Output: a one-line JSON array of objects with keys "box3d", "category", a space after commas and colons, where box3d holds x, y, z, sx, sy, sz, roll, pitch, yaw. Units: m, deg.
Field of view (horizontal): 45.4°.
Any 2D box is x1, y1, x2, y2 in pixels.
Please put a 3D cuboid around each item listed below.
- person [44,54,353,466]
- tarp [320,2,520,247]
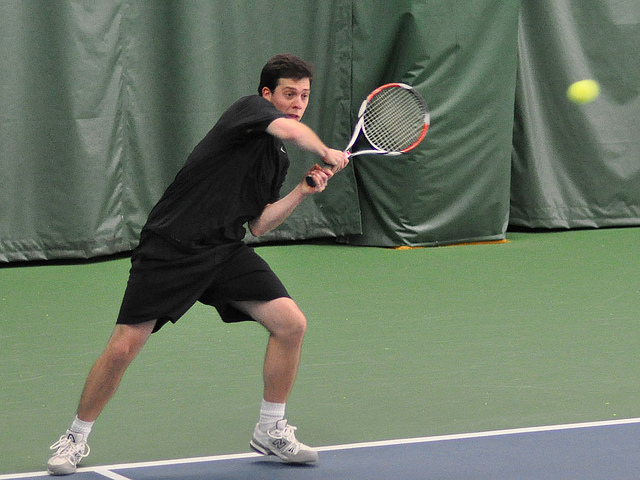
[{"box3d": [-0.546, 0.062, 3.776, 1.566, 2.102, 1.108, 0, -10, 1], "category": "person"}, {"box3d": [0.981, -1.283, 8.474, 1.762, 2.541, 1.344, -1, 15, -20], "category": "tarp"}]
